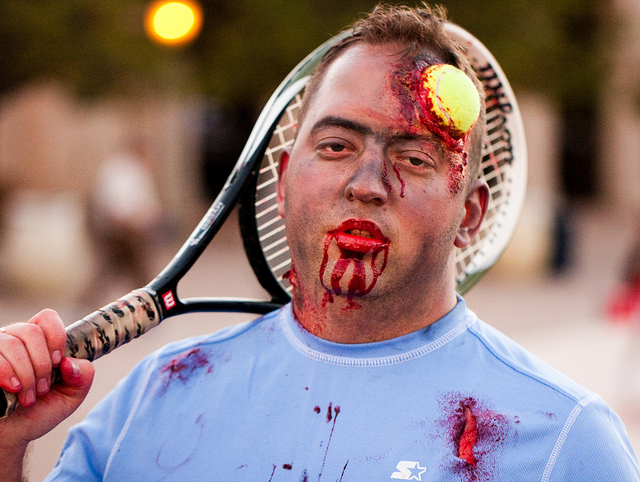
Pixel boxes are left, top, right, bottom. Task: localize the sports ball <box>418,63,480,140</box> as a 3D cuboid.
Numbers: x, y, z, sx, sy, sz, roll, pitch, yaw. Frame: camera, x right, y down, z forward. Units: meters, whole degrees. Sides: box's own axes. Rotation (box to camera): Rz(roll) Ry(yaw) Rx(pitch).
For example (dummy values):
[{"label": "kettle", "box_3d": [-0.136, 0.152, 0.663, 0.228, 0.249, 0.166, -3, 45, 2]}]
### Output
[{"label": "sports ball", "box_3d": [0.818, -0.876, 6.236, 0.207, 0.448, 0.398, -20, -22, 31]}]
